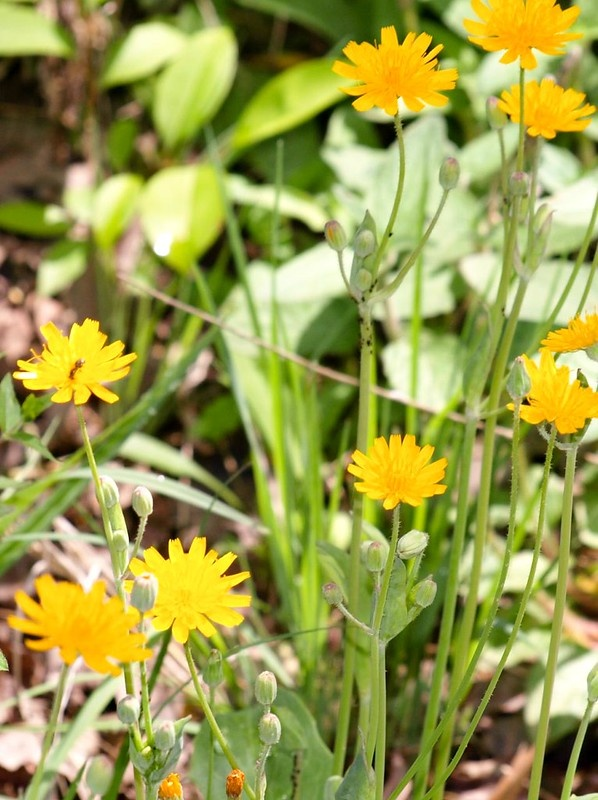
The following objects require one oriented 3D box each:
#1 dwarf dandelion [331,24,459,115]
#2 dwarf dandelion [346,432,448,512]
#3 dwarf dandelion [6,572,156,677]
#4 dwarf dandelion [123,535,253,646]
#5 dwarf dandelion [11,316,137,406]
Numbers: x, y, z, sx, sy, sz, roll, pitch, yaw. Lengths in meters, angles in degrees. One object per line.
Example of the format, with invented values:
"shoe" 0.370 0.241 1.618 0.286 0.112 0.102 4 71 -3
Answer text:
"dwarf dandelion" 0.052 -0.182 0.424 0.061 0.025 0.062 -9 5 -41
"dwarf dandelion" 0.047 0.036 0.362 0.045 0.015 0.045 19 36 21
"dwarf dandelion" -0.079 0.083 0.282 0.051 0.031 0.024 7 31 4
"dwarf dandelion" -0.053 0.083 0.366 0.051 0.018 0.052 11 14 -1
"dwarf dandelion" -0.111 -0.017 0.385 0.056 0.021 0.061 -19 -26 40
